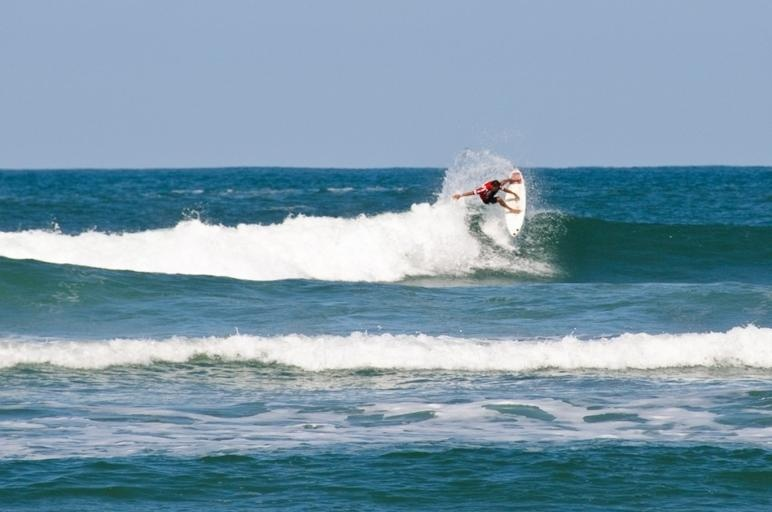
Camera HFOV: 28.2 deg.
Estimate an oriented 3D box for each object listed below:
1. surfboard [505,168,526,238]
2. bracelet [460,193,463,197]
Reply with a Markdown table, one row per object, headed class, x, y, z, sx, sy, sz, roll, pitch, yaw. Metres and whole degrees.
| class | x | y | z | sx | sy | sz | roll | pitch | yaw |
| --- | --- | --- | --- | --- | --- | --- | --- | --- | --- |
| surfboard | 4.311 | -1.648 | 51.390 | 0.700 | 0.226 | 2.376 | 5 | -35 | 12 |
| bracelet | 2.158 | -1.751 | 44.677 | 0.082 | 0.066 | 0.266 | -9 | 7 | -1 |
